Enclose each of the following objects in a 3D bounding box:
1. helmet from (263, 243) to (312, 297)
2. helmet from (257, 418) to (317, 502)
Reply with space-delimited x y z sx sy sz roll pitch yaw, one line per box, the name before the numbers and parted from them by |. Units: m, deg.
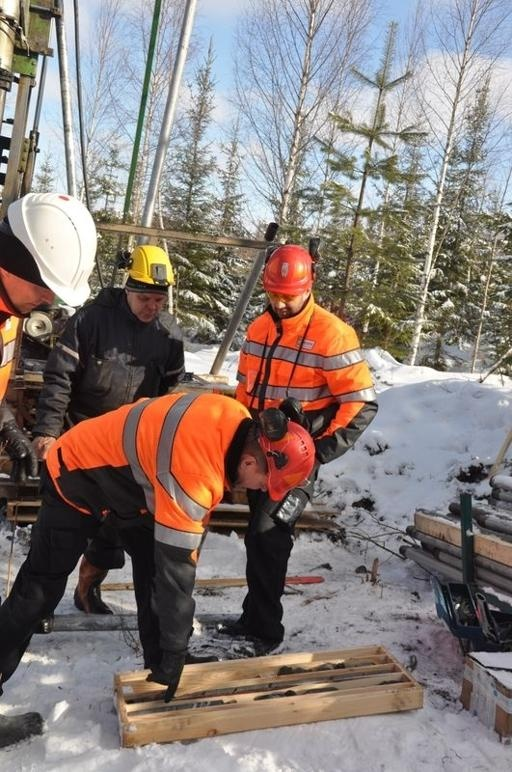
helmet | 0.175 -0.621 2.957 0.266 0.315 0.242 2 -2 5
helmet | 0.093 0.228 1.756 0.172 0.302 0.267 2 -2 4
